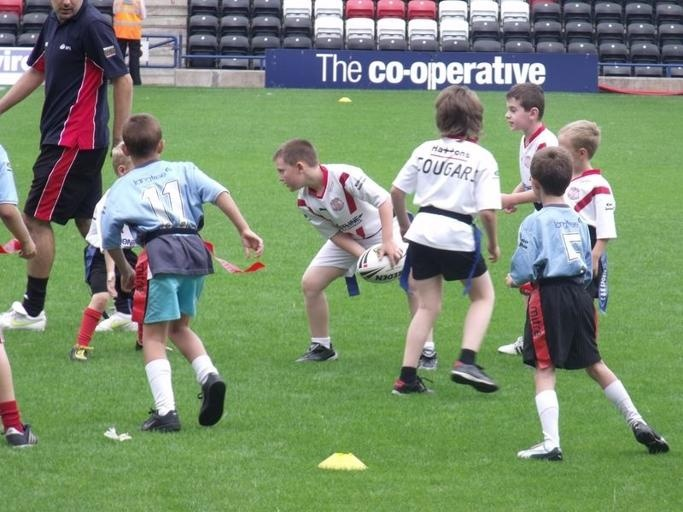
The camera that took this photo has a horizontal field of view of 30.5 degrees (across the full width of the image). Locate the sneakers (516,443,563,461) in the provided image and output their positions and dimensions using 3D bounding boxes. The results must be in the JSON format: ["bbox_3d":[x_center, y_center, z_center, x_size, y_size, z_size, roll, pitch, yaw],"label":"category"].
[{"bbox_3d":[1.356,1.342,8.623,0.309,0.128,0.114,0,-9,19],"label":"sneakers"}]

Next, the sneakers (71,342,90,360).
[{"bbox_3d":[-2.051,0.743,9.910,0.149,0.116,0.194,-1,10,-11],"label":"sneakers"}]

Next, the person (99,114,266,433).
[{"bbox_3d":[-1.174,0.113,8.831,0.910,2.189,0.540,5,10,24],"label":"person"}]

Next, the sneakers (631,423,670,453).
[{"bbox_3d":[2.122,1.245,8.658,0.292,0.241,0.168,0,9,-6],"label":"sneakers"}]

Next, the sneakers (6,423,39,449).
[{"bbox_3d":[-2.185,1.237,8.595,0.097,0.120,0.266,2,0,21],"label":"sneakers"}]

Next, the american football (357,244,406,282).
[{"bbox_3d":[0.296,0.058,9.689,0.337,0.214,0.234,-6,2,-21],"label":"american football"}]

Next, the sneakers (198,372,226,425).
[{"bbox_3d":[-0.904,1.022,8.855,0.164,0.385,0.168,-5,34,-22],"label":"sneakers"}]

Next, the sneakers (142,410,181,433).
[{"bbox_3d":[-1.238,1.166,8.852,0.316,0.154,0.117,1,4,9],"label":"sneakers"}]

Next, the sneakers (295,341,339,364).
[{"bbox_3d":[-0.171,0.773,10.055,0.366,0.162,0.122,0,-1,-15],"label":"sneakers"}]

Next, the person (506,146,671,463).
[{"bbox_3d":[1.598,0.511,8.673,0.875,1.699,0.513,0,9,-5],"label":"person"}]
